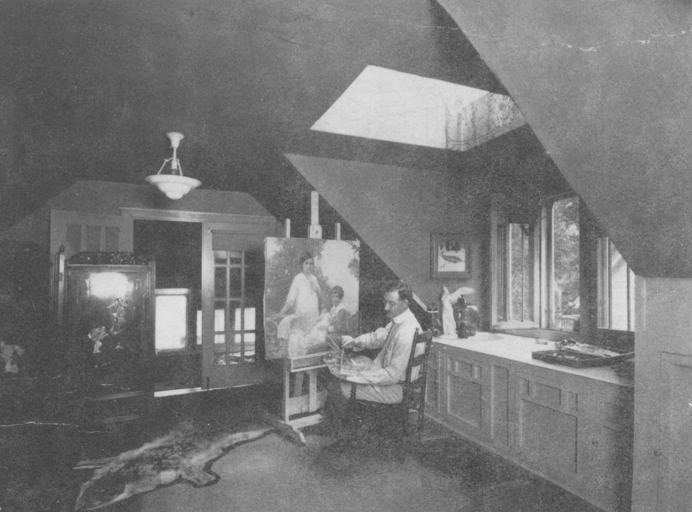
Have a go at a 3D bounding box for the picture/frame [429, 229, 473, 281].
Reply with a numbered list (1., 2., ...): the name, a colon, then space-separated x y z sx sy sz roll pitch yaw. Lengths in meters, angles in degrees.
1. picture/frame: 0.374 0.002 2.525 0.149 0.193 0.016 -1 27 7

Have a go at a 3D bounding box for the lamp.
1. lamp: -0.524 -0.275 2.156 0.135 0.197 0.150 1 -4 11
